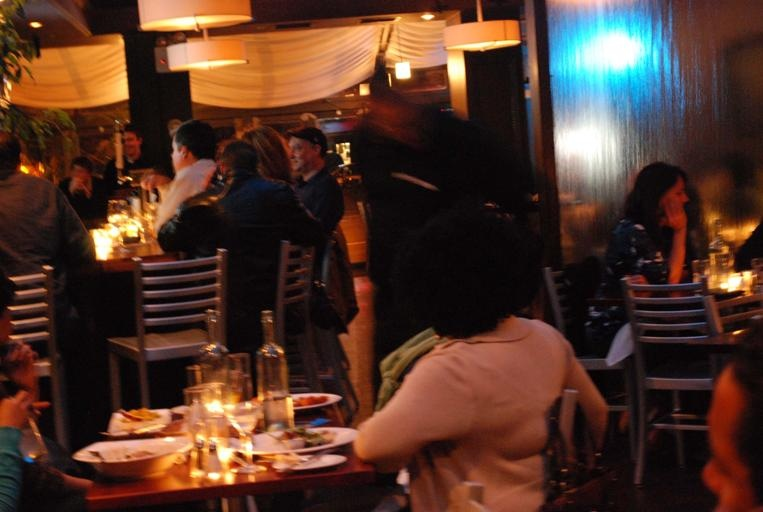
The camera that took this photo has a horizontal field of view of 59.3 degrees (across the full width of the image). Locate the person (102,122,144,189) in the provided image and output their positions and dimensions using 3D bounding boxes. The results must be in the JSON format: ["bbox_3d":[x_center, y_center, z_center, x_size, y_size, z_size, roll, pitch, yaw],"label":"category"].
[{"bbox_3d":[-3.134,-1.204,8.174,0.473,0.864,1.222,-6,4,-18],"label":"person"}]

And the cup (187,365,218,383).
[{"bbox_3d":[-0.673,0.445,2.522,0.085,0.083,0.080,0,4,0],"label":"cup"}]

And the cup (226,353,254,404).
[{"bbox_3d":[-0.544,0.458,2.556,0.094,0.182,0.308,-6,4,-14],"label":"cup"}]

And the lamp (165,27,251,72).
[{"bbox_3d":[-1.544,-1.886,6.309,0.593,0.355,0.571,2,14,20],"label":"lamp"}]

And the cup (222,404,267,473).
[{"bbox_3d":[-0.443,0.582,2.171,0.165,0.239,0.181,-6,-9,-1],"label":"cup"}]

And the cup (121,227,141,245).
[{"bbox_3d":[-1.918,-0.150,5.128,0.154,0.136,0.147,2,-3,0],"label":"cup"}]

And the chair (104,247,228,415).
[{"bbox_3d":[-1.307,0.451,4.074,0.692,0.932,0.856,-7,5,-23],"label":"chair"}]

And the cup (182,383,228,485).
[{"bbox_3d":[-0.566,0.581,2.158,0.164,0.360,0.147,-9,-22,2],"label":"cup"}]
